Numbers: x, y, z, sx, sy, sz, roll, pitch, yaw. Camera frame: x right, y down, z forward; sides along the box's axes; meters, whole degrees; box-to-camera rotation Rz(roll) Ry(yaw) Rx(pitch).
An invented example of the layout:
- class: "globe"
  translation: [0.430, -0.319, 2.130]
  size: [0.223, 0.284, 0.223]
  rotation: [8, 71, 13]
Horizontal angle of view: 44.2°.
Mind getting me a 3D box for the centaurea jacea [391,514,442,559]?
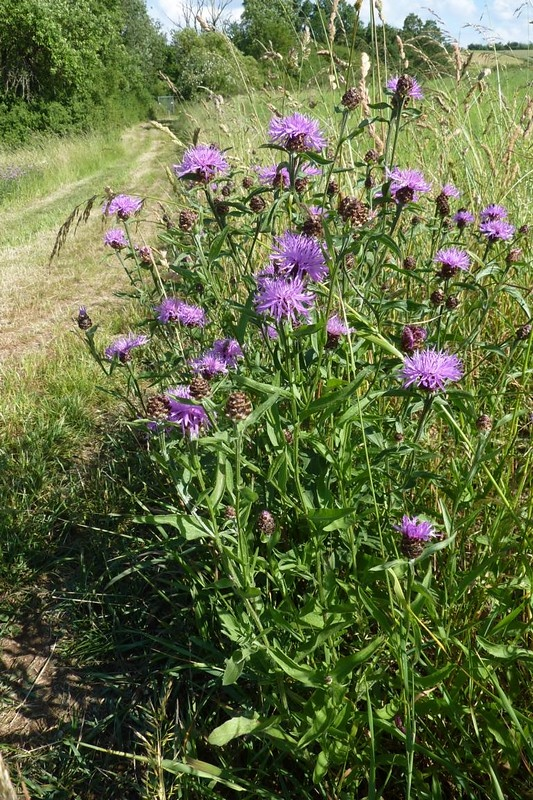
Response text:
- class: "centaurea jacea"
  translation: [0.303, 0.283, 1.278]
  size: [0.093, 0.087, 0.094]
  rotation: [0, 29, -4]
